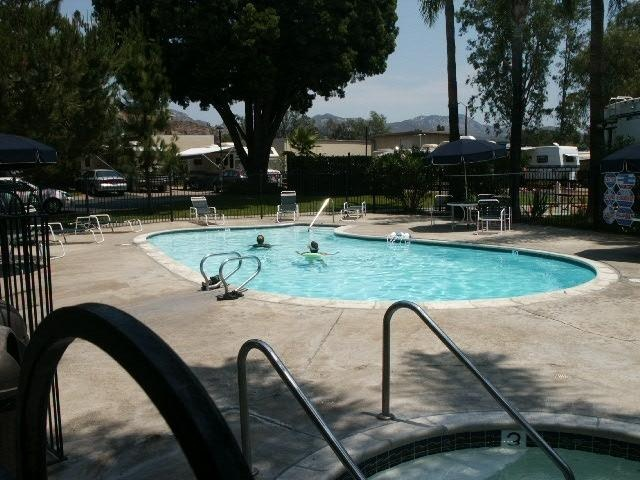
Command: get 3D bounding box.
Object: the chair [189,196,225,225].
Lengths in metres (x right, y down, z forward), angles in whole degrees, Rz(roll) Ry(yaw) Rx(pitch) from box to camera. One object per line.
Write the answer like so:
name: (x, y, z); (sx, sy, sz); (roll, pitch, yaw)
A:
chair: (-4.936, -1.177, 23.517); (1.237, 1.634, 2.580); (-4, 8, -30)

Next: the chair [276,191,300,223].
chair: (-1.474, -1.417, 24.322); (0.863, 1.407, 1.648); (-1, -2, -8)

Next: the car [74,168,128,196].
car: (-14.017, -3.757, 35.540); (2.920, 1.753, 1.594); (3, 9, 28)

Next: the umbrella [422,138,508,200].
umbrella: (5.449, -2.516, 20.626); (2.960, 2.718, 2.902); (-8, 8, -32)

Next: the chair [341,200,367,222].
chair: (1.539, -1.311, 24.895); (0.837, 0.615, 1.464); (1, 9, 10)

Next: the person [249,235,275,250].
person: (-1.863, 0.035, 17.313); (0.730, 0.474, 1.320); (-2, 8, -8)

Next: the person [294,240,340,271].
person: (-0.145, 0.474, 15.170); (1.293, 1.074, 0.624); (7, 34, 12)

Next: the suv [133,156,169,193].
suv: (-8.067, -3.048, 25.961); (1.383, 1.706, 5.614); (-4, 9, -17)
